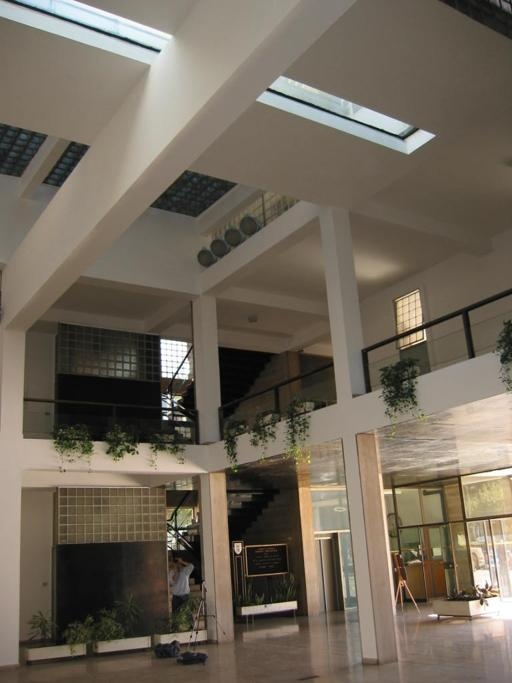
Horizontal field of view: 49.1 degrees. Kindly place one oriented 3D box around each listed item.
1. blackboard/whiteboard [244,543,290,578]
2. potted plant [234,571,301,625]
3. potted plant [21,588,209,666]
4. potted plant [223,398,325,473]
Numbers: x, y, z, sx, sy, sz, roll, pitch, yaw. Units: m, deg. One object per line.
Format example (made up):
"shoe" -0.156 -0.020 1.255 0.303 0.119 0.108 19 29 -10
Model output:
"blackboard/whiteboard" 0.217 4.588 11.705 0.715 0.526 0.098 3 -24 -14
"potted plant" 0.273 5.415 11.647 1.259 0.676 0.479 -13 -33 13
"potted plant" -2.003 4.318 8.410 2.550 0.689 0.866 -1 -16 -15
"potted plant" -0.018 1.383 8.064 0.564 1.058 2.603 16 -26 -27
